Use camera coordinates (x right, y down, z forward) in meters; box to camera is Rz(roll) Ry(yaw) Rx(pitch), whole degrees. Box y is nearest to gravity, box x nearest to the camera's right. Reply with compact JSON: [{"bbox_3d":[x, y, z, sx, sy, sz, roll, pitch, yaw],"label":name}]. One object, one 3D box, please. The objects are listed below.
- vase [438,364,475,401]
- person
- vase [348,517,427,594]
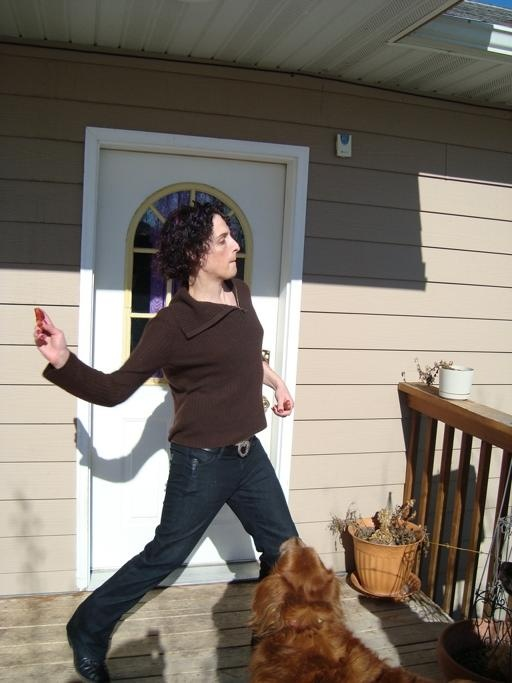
[{"bbox_3d":[0.932,0.188,3.198,0.151,0.139,0.164,2,1,0],"label":"vase"},{"bbox_3d":[-0.285,0.383,2.568,0.871,1.748,0.701,-1,15,-9],"label":"person"},{"bbox_3d":[0.620,1.075,3.356,0.357,0.244,0.335,12,-7,-44],"label":"vase"}]
